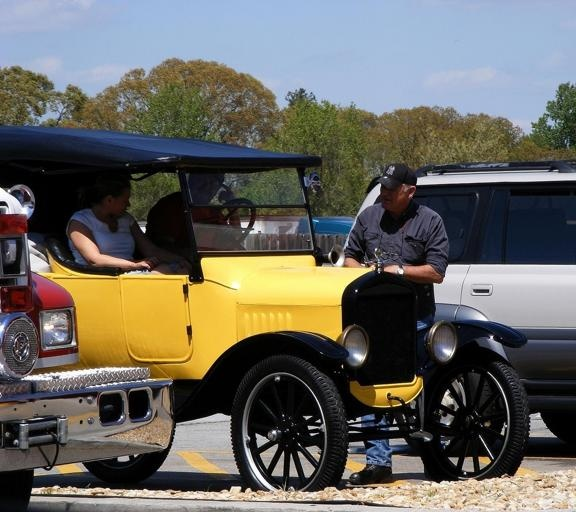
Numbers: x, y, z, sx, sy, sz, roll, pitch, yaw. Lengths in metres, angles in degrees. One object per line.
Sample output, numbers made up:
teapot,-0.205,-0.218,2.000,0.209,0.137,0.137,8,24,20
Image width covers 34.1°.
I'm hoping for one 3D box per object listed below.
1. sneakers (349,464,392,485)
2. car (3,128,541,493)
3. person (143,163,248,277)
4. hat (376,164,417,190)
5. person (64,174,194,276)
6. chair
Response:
sneakers,0.564,1.521,6.541,0.365,0.133,0.119,4,-6,-26
car,-0.087,0.264,7.196,4.367,2.243,2.195,-4,-3,33
person,-0.698,-0.246,7.107,0.887,0.726,0.619,1,3,33
hat,0.767,-0.571,6.723,0.275,0.124,0.178,3,2,-42
person,-1.174,-0.154,7.191,1.099,0.729,0.631,15,16,23
chair,-1.543,-0.036,6.908,0.490,0.219,0.307,5,4,7
